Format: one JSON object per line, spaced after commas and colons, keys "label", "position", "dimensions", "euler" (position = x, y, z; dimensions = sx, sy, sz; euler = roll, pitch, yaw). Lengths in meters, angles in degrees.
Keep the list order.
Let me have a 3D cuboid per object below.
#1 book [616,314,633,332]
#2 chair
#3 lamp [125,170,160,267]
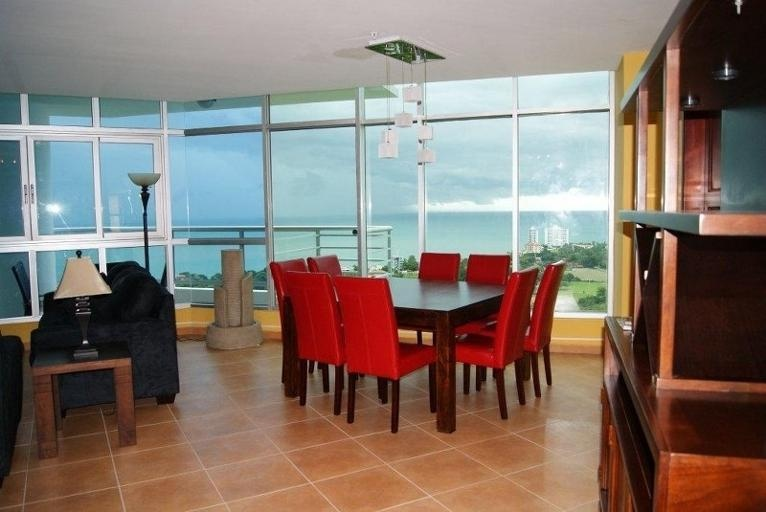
{"label": "book", "position": [1.415, 0.385, 3.321], "dimensions": [0.068, 0.023, 0.104], "euler": [3, 17, 30]}
{"label": "chair", "position": [0.259, 0.528, 4.667], "dimensions": [1.643, 0.784, 1.595], "euler": [2, 6, 27]}
{"label": "lamp", "position": [-2.980, -0.438, 7.254], "dimensions": [0.336, 1.315, 0.892], "euler": [-7, 13, -21]}
